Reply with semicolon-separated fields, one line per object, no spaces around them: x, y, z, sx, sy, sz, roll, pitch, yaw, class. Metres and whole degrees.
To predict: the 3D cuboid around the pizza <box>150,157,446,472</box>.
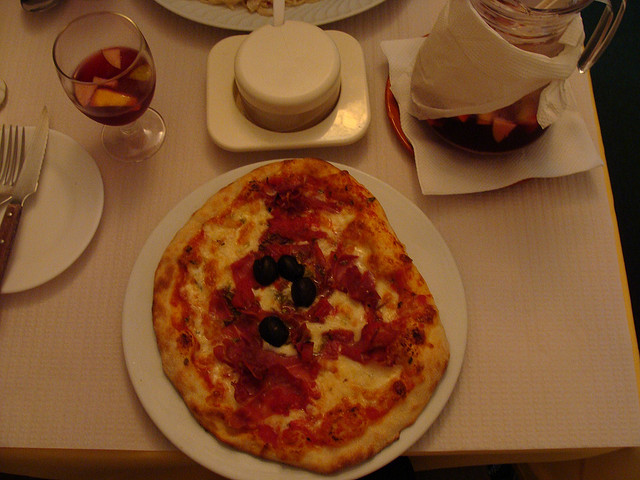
-0.057;0.191;1.456;0.639;0.106;0.725;-26;86;-4;pizza

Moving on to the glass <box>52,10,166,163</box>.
-0.543;-0.373;1.597;0.195;0.327;0.247;4;76;-3;glass
